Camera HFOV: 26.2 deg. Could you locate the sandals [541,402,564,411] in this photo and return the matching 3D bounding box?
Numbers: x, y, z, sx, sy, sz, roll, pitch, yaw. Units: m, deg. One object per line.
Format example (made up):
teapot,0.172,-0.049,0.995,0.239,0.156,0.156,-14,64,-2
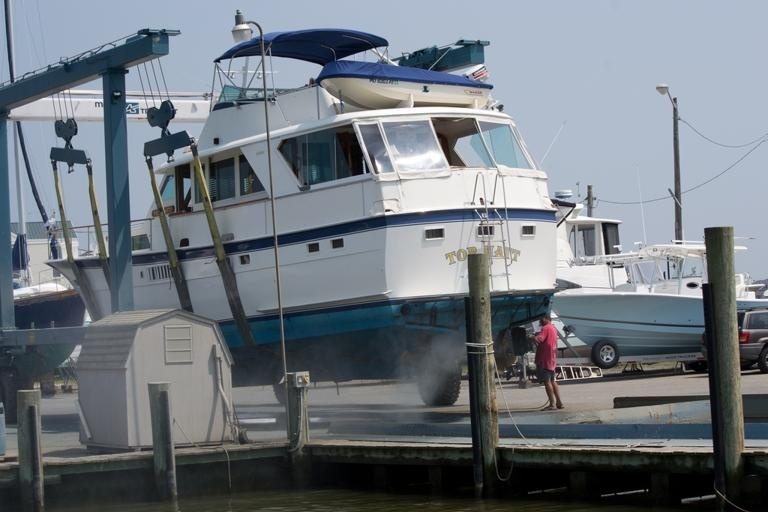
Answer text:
sandals,3.141,2.809,30.465,0.480,0.206,0.150,2,1,27
